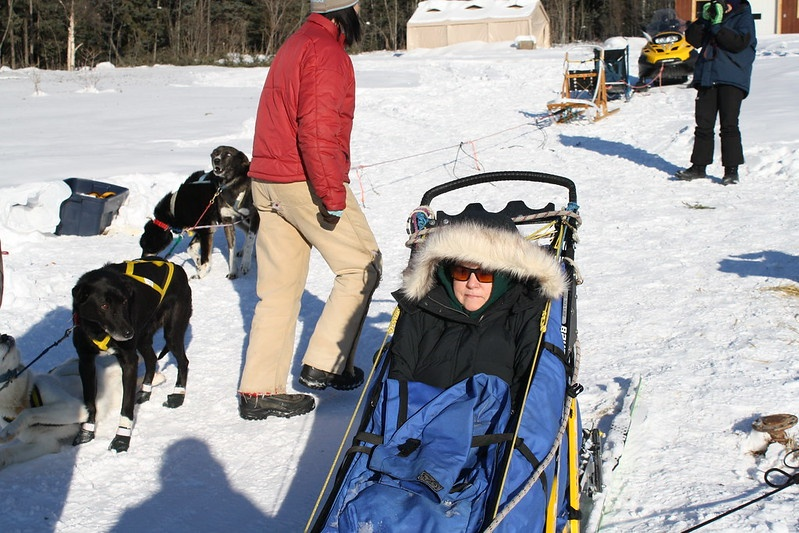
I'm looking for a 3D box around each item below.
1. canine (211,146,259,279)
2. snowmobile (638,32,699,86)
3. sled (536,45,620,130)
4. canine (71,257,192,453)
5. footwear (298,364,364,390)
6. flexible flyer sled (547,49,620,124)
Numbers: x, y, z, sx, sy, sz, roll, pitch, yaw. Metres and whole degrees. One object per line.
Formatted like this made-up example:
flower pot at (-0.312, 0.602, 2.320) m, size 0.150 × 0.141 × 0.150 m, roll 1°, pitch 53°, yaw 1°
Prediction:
canine at (-1.816, -0.595, 9.739) m, size 0.659 × 1.539 × 1.296 m, roll 2°, pitch -3°, yaw -8°
snowmobile at (5.319, -4.411, 17.449) m, size 1.188 × 1.013 × 2.079 m, roll -4°, pitch 25°, yaw 14°
sled at (3.346, -3.326, 15.831) m, size 0.818 × 1.225 × 1.942 m, roll 2°, pitch 12°, yaw 26°
canine at (-2.260, 0.698, 7.377) m, size 0.927 × 1.586 × 1.292 m, roll 2°, pitch -2°, yaw -2°
footwear at (-0.535, 0.861, 7.373) m, size 0.561 × 0.210 × 0.262 m, roll -7°, pitch -29°, yaw -18°
flexible flyer sled at (3.328, -3.308, 15.800) m, size 0.828 × 1.197 × 1.899 m, roll 3°, pitch 14°, yaw 29°
